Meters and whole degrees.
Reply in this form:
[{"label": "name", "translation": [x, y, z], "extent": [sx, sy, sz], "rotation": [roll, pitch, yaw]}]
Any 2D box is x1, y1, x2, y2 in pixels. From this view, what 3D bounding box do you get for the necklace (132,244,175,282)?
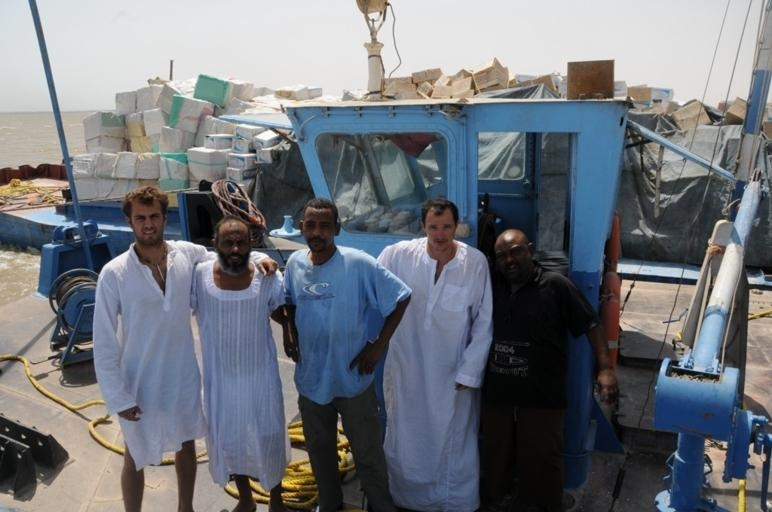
[{"label": "necklace", "translation": [-2.027, 0.075, 5.462], "extent": [0.355, 0.334, 0.191], "rotation": [-2, 12, -12]}]
